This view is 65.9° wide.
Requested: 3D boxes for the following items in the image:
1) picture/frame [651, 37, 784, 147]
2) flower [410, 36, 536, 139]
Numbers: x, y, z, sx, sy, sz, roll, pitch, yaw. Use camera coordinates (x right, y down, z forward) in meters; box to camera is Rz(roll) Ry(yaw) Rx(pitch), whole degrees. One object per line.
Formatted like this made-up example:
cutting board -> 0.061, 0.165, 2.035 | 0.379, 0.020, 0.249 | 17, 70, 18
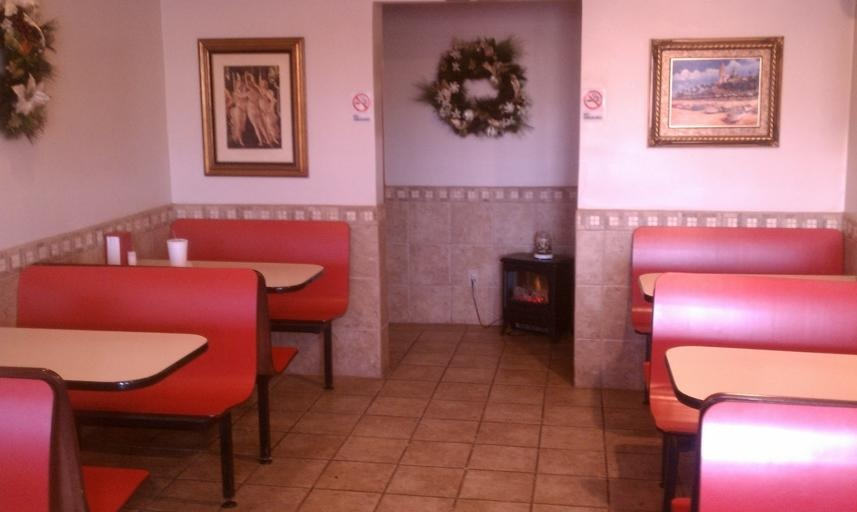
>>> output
picture/frame -> 2.336, -1.338, 5.270 | 0.941, 0.739, 0.095 | 0, 4, 6
flower -> 0.500, -1.751, 6.757 | 1.257, 0.987, 0.363 | 2, 4, 6
